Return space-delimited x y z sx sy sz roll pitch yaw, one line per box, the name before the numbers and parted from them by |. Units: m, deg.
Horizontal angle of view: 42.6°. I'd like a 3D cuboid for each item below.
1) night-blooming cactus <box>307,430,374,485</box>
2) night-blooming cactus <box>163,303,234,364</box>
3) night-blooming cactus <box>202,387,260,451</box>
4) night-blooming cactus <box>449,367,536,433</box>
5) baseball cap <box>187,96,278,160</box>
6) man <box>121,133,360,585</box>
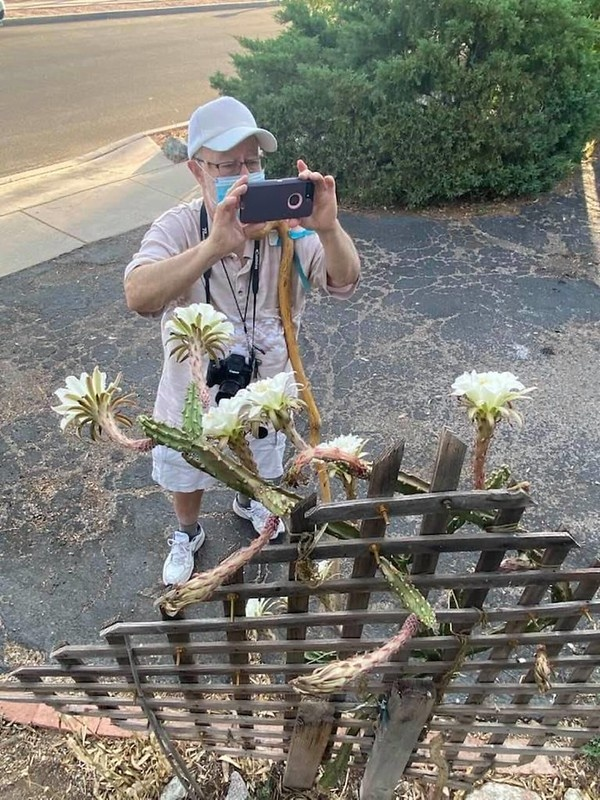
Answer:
night-blooming cactus | 0.124 0.153 2.195 0.163 0.171 0.273 3 28 3
night-blooming cactus | -0.299 -0.163 2.266 0.153 0.139 0.134 3 67 -31
night-blooming cactus | -0.195 0.055 2.102 0.096 0.162 0.163 47 67 1
night-blooming cactus | 0.531 -0.004 2.182 0.235 0.184 0.222 3 14 30
baseball cap | -0.256 -0.954 2.697 0.259 0.163 0.344 -17 15 -31
man | -0.269 -0.083 2.992 0.963 1.603 0.587 -7 20 -18
